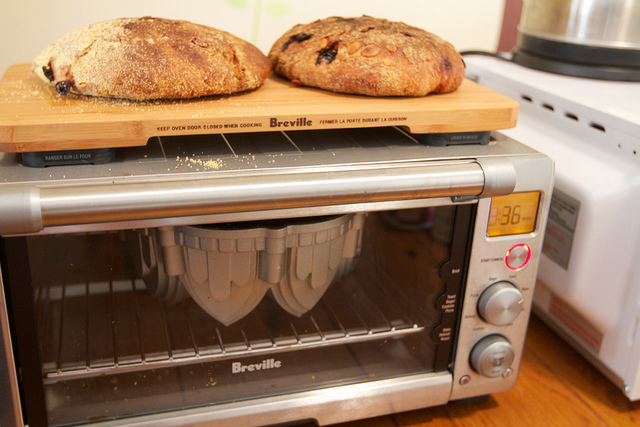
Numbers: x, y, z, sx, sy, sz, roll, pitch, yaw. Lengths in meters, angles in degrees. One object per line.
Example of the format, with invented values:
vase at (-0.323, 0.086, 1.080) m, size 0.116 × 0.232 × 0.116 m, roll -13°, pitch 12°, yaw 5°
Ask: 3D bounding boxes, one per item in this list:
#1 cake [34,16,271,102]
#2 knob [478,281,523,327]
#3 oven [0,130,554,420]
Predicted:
cake at (-0.271, -0.243, 0.788) m, size 0.379 × 0.114 × 0.156 m, roll -6°, pitch 31°, yaw -5°
knob at (0.313, 0.155, 0.845) m, size 0.081 × 0.080 × 0.042 m, roll -12°, pitch 23°, yaw -9°
oven at (-0.042, 0.106, 0.812) m, size 0.858 × 0.483 × 0.239 m, roll -8°, pitch 32°, yaw -9°
